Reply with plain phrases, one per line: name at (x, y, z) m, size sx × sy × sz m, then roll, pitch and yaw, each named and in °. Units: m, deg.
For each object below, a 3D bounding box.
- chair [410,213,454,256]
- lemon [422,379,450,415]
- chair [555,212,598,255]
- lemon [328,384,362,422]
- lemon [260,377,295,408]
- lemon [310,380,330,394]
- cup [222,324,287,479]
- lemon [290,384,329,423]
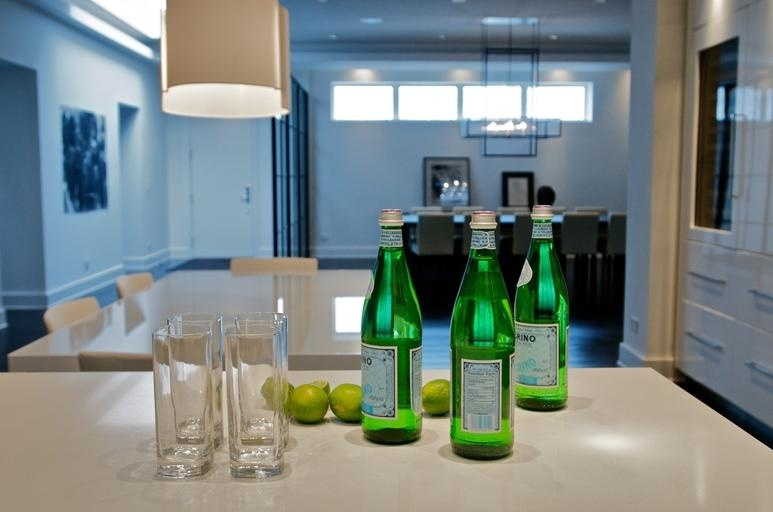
chair at (0.572, -0.282, 7.401) m, size 0.588 × 0.501 × 0.607 m, roll 1°, pitch 3°, yaw 11°
lemon at (0.090, 0.252, 1.022) m, size 0.060 × 0.047 × 0.047 m, roll 6°, pitch -13°, yaw -32°
chair at (2.516, -0.259, 7.165) m, size 0.595 × 0.497 × 0.591 m, roll 2°, pitch 1°, yaw -21°
lemon at (-0.069, 0.260, 1.036) m, size 0.064 × 0.072 × 0.075 m, roll 0°, pitch 0°, yaw -4°
lemon at (-0.178, 0.237, 1.009) m, size 0.035 × 0.037 × 0.028 m, roll 1°, pitch -3°, yaw 21°
lemon at (-0.123, 0.239, 1.059) m, size 0.024 × 0.017 × 0.025 m, roll 3°, pitch 1°, yaw -4°
cup at (-0.195, 0.219, 0.859) m, size 0.080 × 0.229 × 0.060 m, roll -2°, pitch 8°, yaw -14°
lemon at (-0.130, 0.250, 1.012) m, size 0.067 × 0.068 × 0.064 m, roll 0°, pitch -1°, yaw 6°
